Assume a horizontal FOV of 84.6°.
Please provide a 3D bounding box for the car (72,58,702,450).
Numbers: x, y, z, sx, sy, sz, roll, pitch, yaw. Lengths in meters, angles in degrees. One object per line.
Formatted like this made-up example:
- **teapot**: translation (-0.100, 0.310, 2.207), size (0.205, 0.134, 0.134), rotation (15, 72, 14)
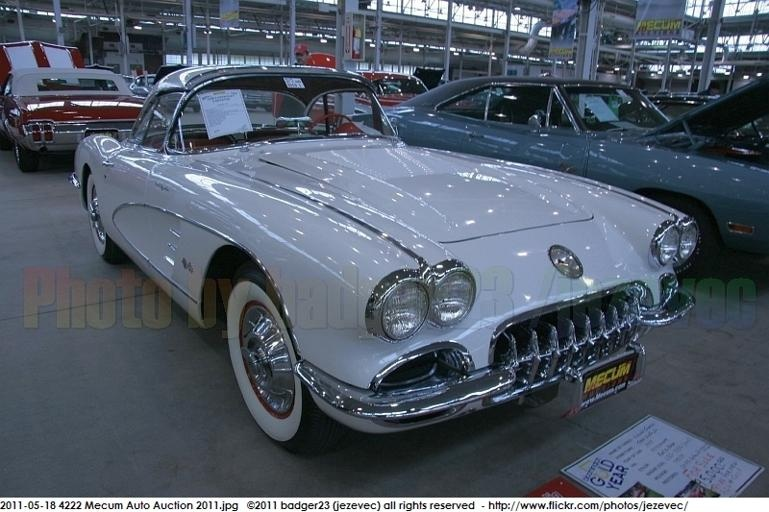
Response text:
- **car**: translation (-0.803, -0.589, 3.623), size (4.994, 1.656, 2.679), rotation (21, 27, 38)
